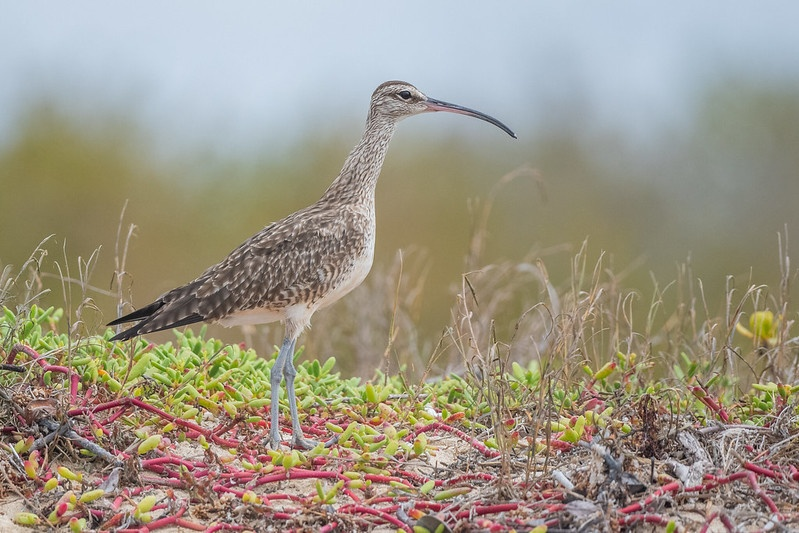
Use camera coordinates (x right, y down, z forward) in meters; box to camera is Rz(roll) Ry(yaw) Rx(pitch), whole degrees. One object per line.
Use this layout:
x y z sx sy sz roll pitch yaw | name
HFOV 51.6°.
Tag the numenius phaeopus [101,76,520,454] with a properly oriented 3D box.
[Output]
-0.783 -0.171 6.380 2.146 3.087 0.721 2 -14 -7 | numenius phaeopus
